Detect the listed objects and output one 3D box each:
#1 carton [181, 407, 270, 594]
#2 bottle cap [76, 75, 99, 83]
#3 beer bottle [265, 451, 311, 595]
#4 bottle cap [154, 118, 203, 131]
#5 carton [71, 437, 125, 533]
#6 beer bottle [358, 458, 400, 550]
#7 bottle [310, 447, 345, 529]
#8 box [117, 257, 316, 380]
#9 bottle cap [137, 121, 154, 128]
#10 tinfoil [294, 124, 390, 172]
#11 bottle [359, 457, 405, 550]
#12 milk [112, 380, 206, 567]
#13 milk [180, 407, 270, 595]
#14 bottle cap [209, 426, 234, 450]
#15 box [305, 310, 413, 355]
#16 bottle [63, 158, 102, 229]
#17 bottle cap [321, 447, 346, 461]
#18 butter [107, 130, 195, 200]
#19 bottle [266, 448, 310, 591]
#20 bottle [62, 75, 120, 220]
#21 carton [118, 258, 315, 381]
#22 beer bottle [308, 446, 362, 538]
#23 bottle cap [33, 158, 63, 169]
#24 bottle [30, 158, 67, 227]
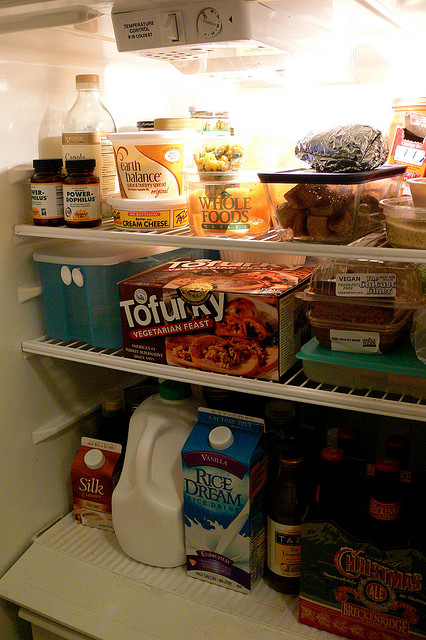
[{"bbox_3d":[0.027,0.352,0.985,0.148,0.320,0.116,2,3,31],"label":"carton"},{"bbox_3d":[-0.261,-0.500,1.034,0.025,0.009,0.025,0,9,-1],"label":"bottle cap"},{"bbox_3d":[0.129,0.387,0.942,0.095,0.268,0.082,-2,25,1],"label":"beer bottle"},{"bbox_3d":[-0.065,-0.376,0.962,0.097,0.026,0.058,-7,20,-7],"label":"bottle cap"},{"bbox_3d":[-0.264,0.388,1.193,0.140,0.202,0.137,-1,6,-3],"label":"carton"},{"bbox_3d":[0.257,0.280,0.766,0.053,0.123,0.057,-4,12,1],"label":"beer bottle"},{"bbox_3d":[0.196,0.286,0.840,0.045,0.112,0.059,5,20,18],"label":"bottle"},{"bbox_3d":[0.011,-0.014,0.984,0.332,0.143,0.243,7,20,27],"label":"box"},{"bbox_3d":[-0.135,-0.388,0.993,0.030,0.013,0.047,-8,20,-9],"label":"bottle cap"},{"bbox_3d":[0.190,-0.259,0.757,0.143,0.067,0.092,2,21,18],"label":"tinfoil"},{"bbox_3d":[0.263,0.280,0.763,0.053,0.118,0.056,-4,12,1],"label":"bottle"},{"bbox_3d":[-0.094,0.337,1.092,0.308,0.359,0.307,-1,4,-14],"label":"milk"},{"bbox_3d":[0.031,0.347,1.014,0.154,0.380,0.139,4,15,19],"label":"milk"},{"bbox_3d":[0.014,0.223,0.936,0.044,0.021,0.045,3,21,20],"label":"bottle cap"},{"bbox_3d":[0.254,-0.004,0.854,0.150,0.078,0.145,2,15,29],"label":"box"},{"bbox_3d":[-0.259,-0.246,0.975,0.075,0.127,0.075,2,20,-1],"label":"bottle"},{"bbox_3d":[0.202,0.227,0.840,0.026,0.007,0.027,0,9,1],"label":"bottle cap"},{"bbox_3d":[-0.112,-0.289,0.969,0.129,0.143,0.128,7,19,21],"label":"butter"},{"bbox_3d":[0.151,0.397,0.964,0.089,0.256,0.098,2,-2,0],"label":"bottle"},{"bbox_3d":[-0.271,-0.368,1.077,0.112,0.308,0.119,2,18,-1],"label":"bottle"},{"bbox_3d":[0.019,-0.018,0.991,0.347,0.156,0.246,6,21,31],"label":"carton"},{"bbox_3d":[0.207,0.290,0.844,0.065,0.128,0.073,7,21,22],"label":"beer bottle"},{"bbox_3d":[-0.319,-0.300,0.964,0.031,0.017,0.051,15,27,42],"label":"bottle cap"},{"bbox_3d":[-0.333,-0.255,0.994,0.070,0.122,0.071,4,20,-1],"label":"bottle"}]
